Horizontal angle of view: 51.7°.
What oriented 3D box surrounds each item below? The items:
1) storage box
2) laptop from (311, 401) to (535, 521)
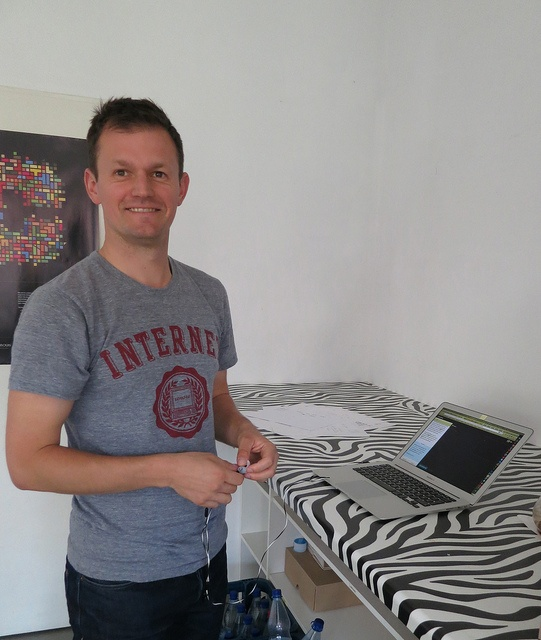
[{"bbox_3d":[0.145,0.769,1.646,0.164,0.064,0.155,9,1,-16],"label":"storage box"},{"bbox_3d":[0.344,0.297,1.266,0.328,0.118,0.264,1,4,-24],"label":"laptop"}]
